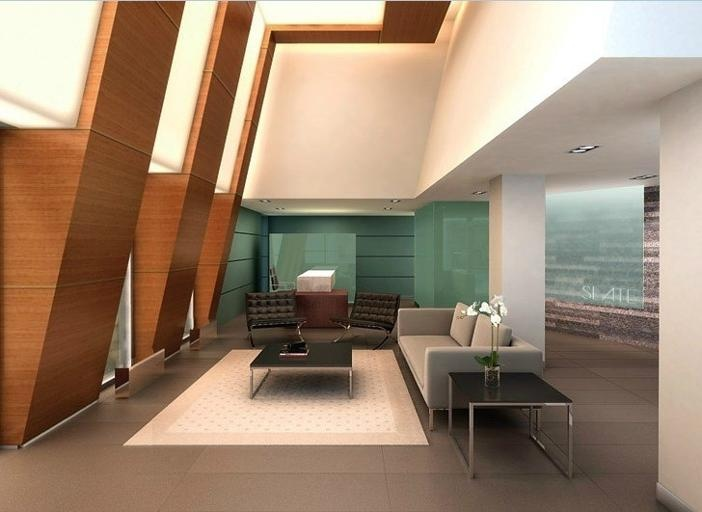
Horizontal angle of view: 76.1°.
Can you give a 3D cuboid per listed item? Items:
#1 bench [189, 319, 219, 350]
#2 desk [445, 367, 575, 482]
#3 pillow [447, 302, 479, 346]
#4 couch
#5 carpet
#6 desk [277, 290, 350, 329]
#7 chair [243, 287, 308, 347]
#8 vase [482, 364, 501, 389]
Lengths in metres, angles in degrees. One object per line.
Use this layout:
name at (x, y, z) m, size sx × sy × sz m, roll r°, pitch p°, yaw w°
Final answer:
bench at (-2.902, 1.555, 8.777) m, size 0.367 × 0.327 × 1.137 m, roll 0°, pitch 6°, yaw -4°
desk at (1.582, 1.650, 4.607) m, size 0.995 × 0.576 × 1.262 m, roll 0°, pitch -3°, yaw 7°
pillow at (1.578, 1.053, 6.750) m, size 0.088 × 0.456 × 0.772 m, roll 13°, pitch 0°, yaw -22°
couch at (1.394, 1.727, 5.913) m, size 1.145 × 0.902 × 2.616 m, roll 0°, pitch 1°, yaw 6°
carpet at (-0.724, 1.872, 6.021) m, size 3.173 × 0.098 × 2.660 m, roll 0°, pitch 6°, yaw 1°
desk at (-0.662, 1.171, 10.315) m, size 1.684 × 0.913 × 0.816 m, roll 0°, pitch 3°, yaw -1°
chair at (-1.542, 1.182, 9.085) m, size 1.288 × 1.038 × 1.022 m, roll 0°, pitch -2°, yaw -15°
vase at (1.428, 1.236, 4.545) m, size 0.215 × 0.222 × 0.205 m, roll 0°, pitch -9°, yaw 4°
